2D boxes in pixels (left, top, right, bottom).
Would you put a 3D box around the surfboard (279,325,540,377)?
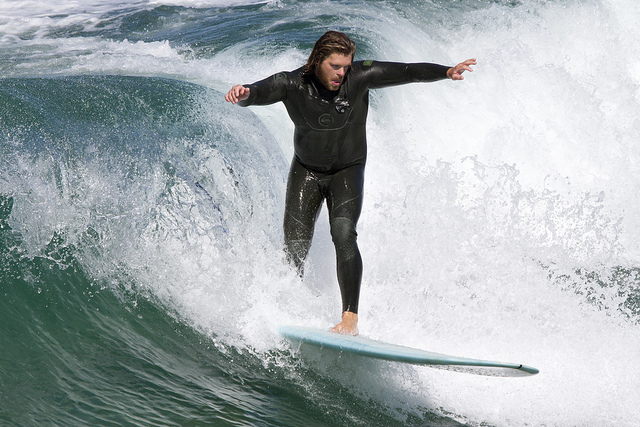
[{"bbox_3d":[0.968,1.748,9.886,3.205,0.324,0.494,9,9,13],"label":"surfboard"}]
